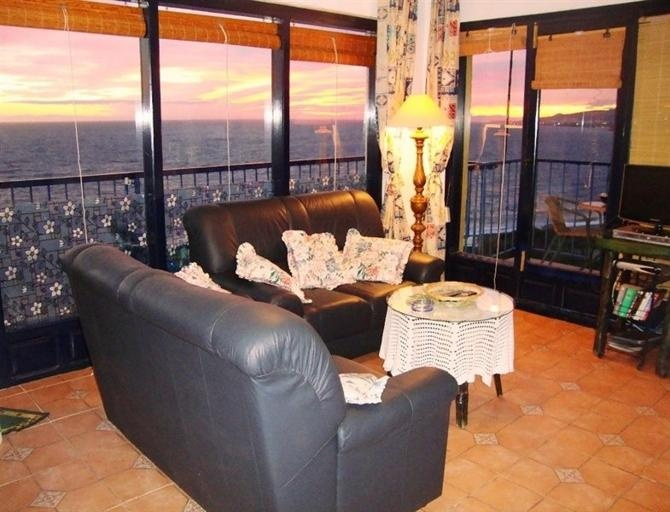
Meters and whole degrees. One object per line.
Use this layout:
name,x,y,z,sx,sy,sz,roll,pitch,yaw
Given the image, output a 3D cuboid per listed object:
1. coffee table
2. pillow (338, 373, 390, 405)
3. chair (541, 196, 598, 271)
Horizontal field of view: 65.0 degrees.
coffee table,0.752,0.574,3.615,0.892,0.642,0.868,-1,11,-2
pillow,0.123,0.579,2.290,0.154,0.031,0.142,-4,28,-6
chair,2.339,-0.237,5.140,0.610,0.617,0.568,4,0,-12
